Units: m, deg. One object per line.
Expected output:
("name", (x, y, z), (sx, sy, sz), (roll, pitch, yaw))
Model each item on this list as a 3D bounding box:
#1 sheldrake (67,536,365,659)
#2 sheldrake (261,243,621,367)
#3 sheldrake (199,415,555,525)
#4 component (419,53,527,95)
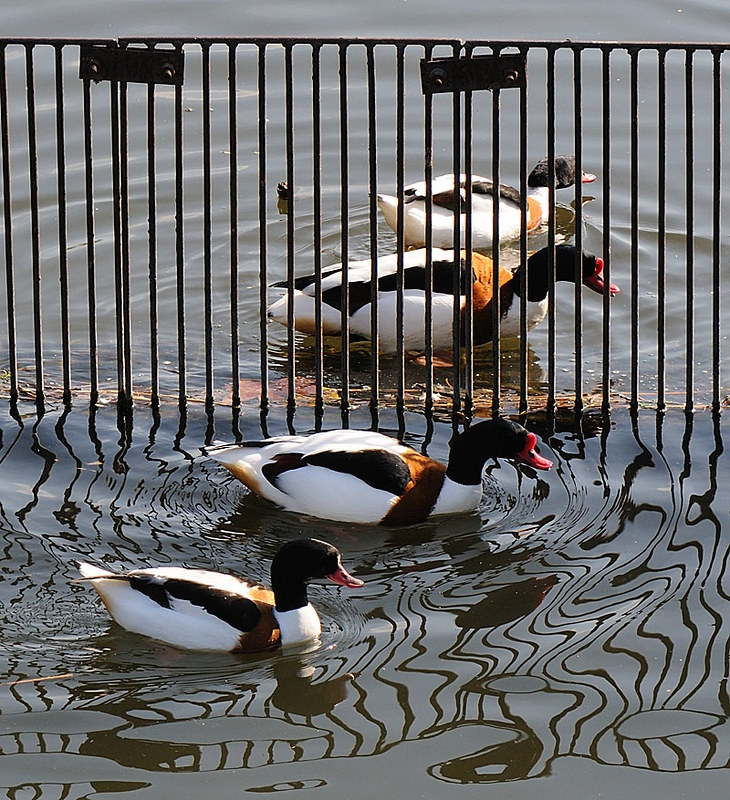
("sheldrake", (-0.644, 0.861, 5.936), (1.262, 0.514, 0.523), (4, 6, 10))
("sheldrake", (0.397, -0.679, 9.814), (2.845, 1.007, 0.942), (3, 20, -5))
("sheldrake", (0.083, 0.377, 7.104), (1.804, 0.658, 0.635), (8, 21, -1))
("component", (0.605, -1.818, 7.616), (0.606, 0.251, 0.339), (1, 3, 13))
